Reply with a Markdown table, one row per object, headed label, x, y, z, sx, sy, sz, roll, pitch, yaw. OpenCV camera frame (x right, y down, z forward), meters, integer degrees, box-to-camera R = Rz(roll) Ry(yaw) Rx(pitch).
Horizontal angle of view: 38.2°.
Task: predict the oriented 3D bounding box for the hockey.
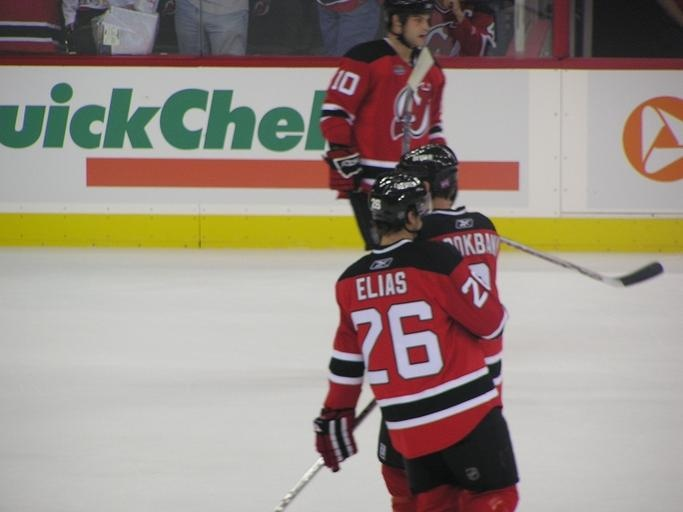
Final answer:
| label | x | y | z | sx | sy | sz | roll | pitch | yaw |
| --- | --- | --- | --- | --- | --- | --- | --- | --- | --- |
| hockey | 1.792 | 0.059 | 7.417 | 1.199 | 0.383 | 0.090 | 6 | -29 | -19 |

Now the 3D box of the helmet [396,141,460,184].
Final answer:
| label | x | y | z | sx | sy | sz | roll | pitch | yaw |
| --- | --- | --- | --- | --- | --- | --- | --- | --- | --- |
| helmet | 0.458 | -0.492 | 5.252 | 0.253 | 0.166 | 0.195 | -12 | 4 | 11 |
